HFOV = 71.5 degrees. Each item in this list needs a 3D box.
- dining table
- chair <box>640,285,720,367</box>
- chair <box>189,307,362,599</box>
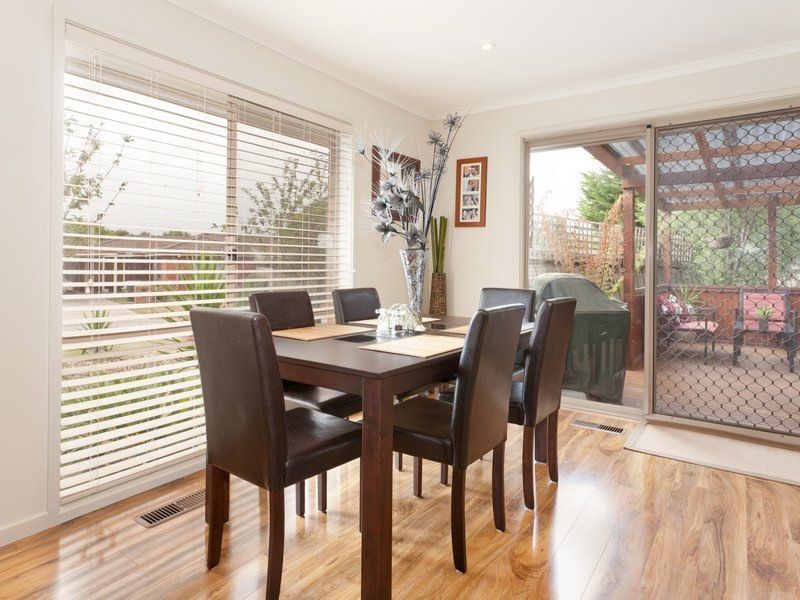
[{"bbox_3d":[-0.063,0.526,2.958,0.889,1.464,1.597,5,7,39],"label":"dining table"},{"bbox_3d":[2.231,0.199,4.378,0.478,0.683,0.471,-1,2,42],"label":"chair"},{"bbox_3d":[-0.573,0.652,2.684,0.591,1.268,0.606,0,5,43],"label":"chair"}]
